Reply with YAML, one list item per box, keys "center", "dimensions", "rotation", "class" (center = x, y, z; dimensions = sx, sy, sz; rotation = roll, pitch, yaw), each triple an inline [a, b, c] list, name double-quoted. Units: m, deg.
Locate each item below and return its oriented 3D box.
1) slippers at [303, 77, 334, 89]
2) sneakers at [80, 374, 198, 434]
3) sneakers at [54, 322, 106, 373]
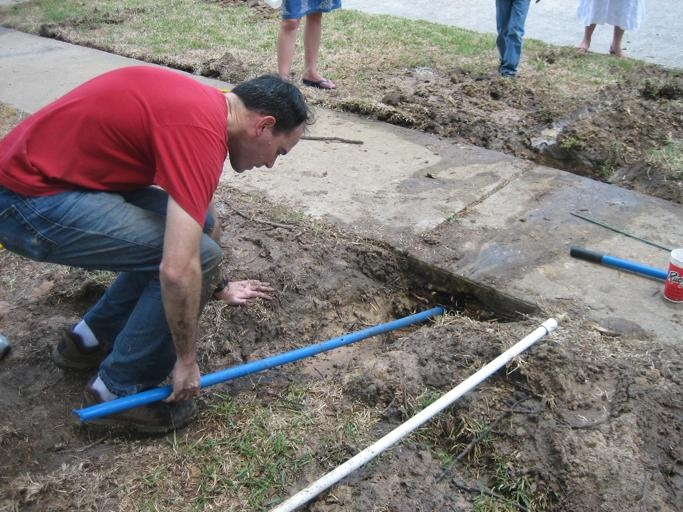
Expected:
- center: [-0.257, -1.871, 6.042]
  dimensions: [0.305, 0.067, 0.134]
  rotation: [12, 38, 13]
  class: "slippers"
- center: [-0.956, 0.748, 2.858]
  dimensions: [0.614, 0.222, 0.228]
  rotation: [-5, 11, 22]
  class: "sneakers"
- center: [-1.353, 0.476, 3.090]
  dimensions: [0.196, 0.166, 0.357]
  rotation: [37, 14, 8]
  class: "sneakers"
